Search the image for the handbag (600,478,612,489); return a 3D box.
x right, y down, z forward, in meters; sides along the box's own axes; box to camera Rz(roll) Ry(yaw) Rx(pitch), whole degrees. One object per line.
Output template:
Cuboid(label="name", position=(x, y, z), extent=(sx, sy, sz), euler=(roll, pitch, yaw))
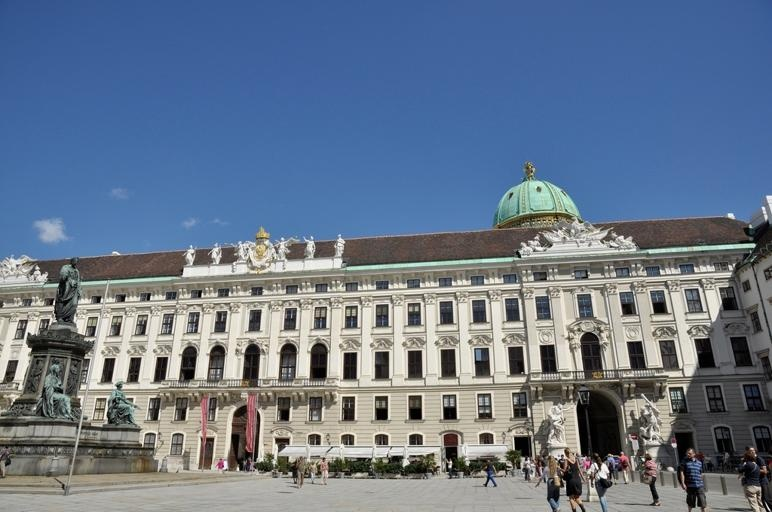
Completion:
Cuboid(label="handbag", position=(11.239, 11.545, 28.530), extent=(0.407, 0.392, 1.229), euler=(-10, -21, 27))

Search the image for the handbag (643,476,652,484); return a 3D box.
Cuboid(label="handbag", position=(14.380, 12.237, 30.731), extent=(0.329, 0.328, 0.455), euler=(-4, -19, 11))

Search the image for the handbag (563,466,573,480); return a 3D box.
Cuboid(label="handbag", position=(8.874, 10.615, 27.442), extent=(0.222, 0.671, 0.577), euler=(9, -21, -23))

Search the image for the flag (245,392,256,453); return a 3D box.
Cuboid(label="flag", position=(-13.901, 17.138, 57.520), extent=(1.044, 5.968, 1.777), euler=(5, -21, -12))

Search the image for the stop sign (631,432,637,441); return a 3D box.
Cuboid(label="stop sign", position=(23.674, 17.164, 53.371), extent=(0.489, 0.482, 0.595), euler=(7, -8, -29))
